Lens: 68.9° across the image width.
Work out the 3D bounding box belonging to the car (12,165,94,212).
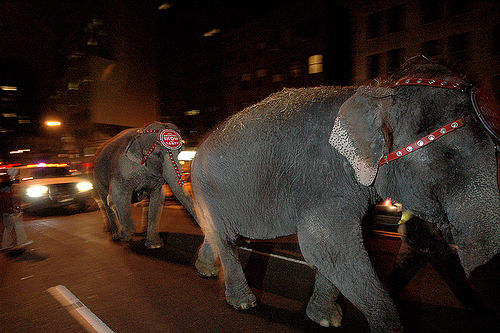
[{"bbox_3d":[-7.032,0.778,12.385,1.820,1.315,3.020,2,-6,-38],"label":"car"}]

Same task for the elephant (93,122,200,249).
[{"bbox_3d":[-2.254,0.427,7.694,3.717,2.663,1.137,-1,0,45],"label":"elephant"}]

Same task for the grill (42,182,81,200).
[{"bbox_3d":[-5.911,0.762,11.399,0.999,0.435,0.177,-6,9,-41],"label":"grill"}]
